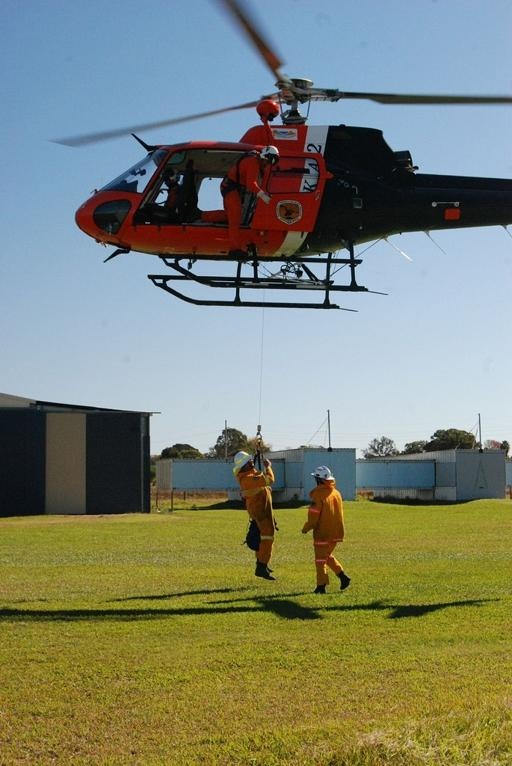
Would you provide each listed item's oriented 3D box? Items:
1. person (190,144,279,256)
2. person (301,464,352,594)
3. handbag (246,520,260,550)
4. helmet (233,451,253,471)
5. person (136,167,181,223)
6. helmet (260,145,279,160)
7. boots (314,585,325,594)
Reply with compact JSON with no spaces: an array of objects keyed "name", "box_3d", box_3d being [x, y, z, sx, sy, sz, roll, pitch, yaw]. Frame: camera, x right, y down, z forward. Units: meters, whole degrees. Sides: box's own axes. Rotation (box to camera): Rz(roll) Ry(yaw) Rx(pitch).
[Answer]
[{"name":"person","box_3d":[-0.131,-2.447,12.144,0.784,1.243,1.262,2,-6,-32]},{"name":"person","box_3d":[0.781,1.694,10.563,0.499,1.416,0.788,-3,-5,11]},{"name":"handbag","box_3d":[-0.069,1.850,11.014,0.203,0.327,0.095,12,-11,-35]},{"name":"helmet","box_3d":[-0.210,0.975,11.161,0.219,0.157,0.279,-40,0,-41]},{"name":"person","box_3d":[-1.329,-2.530,12.303,0.584,0.712,0.230,-1,-5,-6]},{"name":"helmet","box_3d":[0.157,-2.983,11.785,0.238,0.204,0.150,-1,-5,-7]},{"name":"boots","box_3d":[0.704,2.325,10.229,0.139,0.117,0.062,4,-10,2]}]
